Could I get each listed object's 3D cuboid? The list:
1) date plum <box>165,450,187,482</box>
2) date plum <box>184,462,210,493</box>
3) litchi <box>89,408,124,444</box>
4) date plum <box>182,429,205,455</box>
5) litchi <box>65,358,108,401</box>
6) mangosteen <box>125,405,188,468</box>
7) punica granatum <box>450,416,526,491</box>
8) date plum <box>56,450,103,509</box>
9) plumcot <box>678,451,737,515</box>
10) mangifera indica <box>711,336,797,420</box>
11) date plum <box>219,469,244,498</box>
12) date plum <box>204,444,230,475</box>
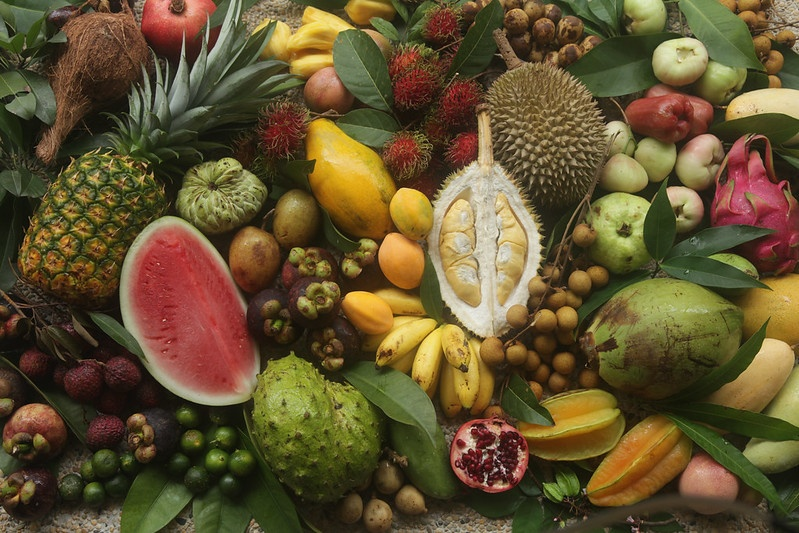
[{"bbox_3d":[-0.905,0.812,3.424,0.094,0.093,0.111,0,65,-13],"label":"date plum"},{"bbox_3d":[-0.826,0.873,3.464,0.095,0.102,0.104,1,94,8],"label":"date plum"},{"bbox_3d":[-1.204,0.679,3.432,0.121,0.094,0.133,12,52,14],"label":"litchi"},{"bbox_3d":[-0.848,0.721,3.429,0.096,0.092,0.095,-1,87,19],"label":"date plum"},{"bbox_3d":[-1.278,0.467,3.407,0.140,0.177,0.149,42,57,6],"label":"litchi"},{"bbox_3d":[-1.001,0.685,3.424,0.201,0.158,0.177,-22,52,-14],"label":"mangosteen"},{"bbox_3d":[0.372,0.793,3.461,0.306,0.220,0.263,12,52,14],"label":"punica granatum"},{"bbox_3d":[-1.311,0.903,3.436,0.178,0.159,0.202,-36,56,-24],"label":"date plum"},{"bbox_3d":[1.257,0.881,3.396,0.211,0.112,0.165,29,58,26],"label":"plumcot"},{"bbox_3d":[1.522,0.467,3.580,0.455,0.251,0.336,0,83,22],"label":"mangifera indica"},{"bbox_3d":[-0.683,0.894,3.406,0.084,0.084,0.110,-6,90,3],"label":"date plum"},{"bbox_3d":[-0.740,0.796,3.426,0.101,0.072,0.100,6,51,10],"label":"date plum"}]
